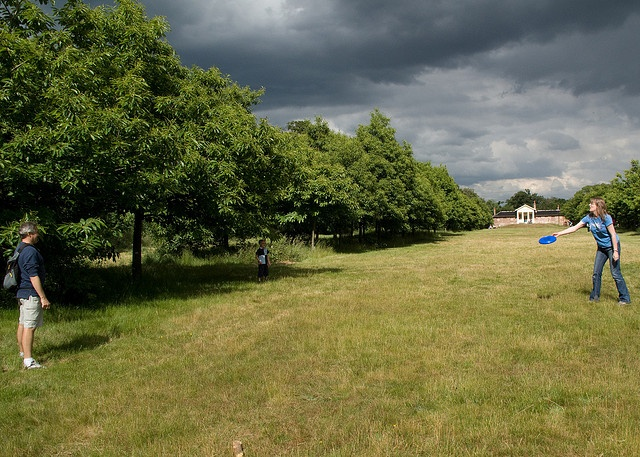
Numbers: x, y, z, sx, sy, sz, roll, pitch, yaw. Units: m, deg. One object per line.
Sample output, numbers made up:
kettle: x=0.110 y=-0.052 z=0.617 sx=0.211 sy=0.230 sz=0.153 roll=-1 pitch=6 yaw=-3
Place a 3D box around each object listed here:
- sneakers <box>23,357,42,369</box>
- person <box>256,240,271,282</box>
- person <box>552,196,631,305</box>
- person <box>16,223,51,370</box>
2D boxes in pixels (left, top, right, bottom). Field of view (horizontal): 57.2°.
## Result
sneakers: x=-6.176 y=2.956 z=12.765 sx=0.447 sy=0.207 sz=0.178 roll=5 pitch=-2 yaw=-15
person: x=-2.227 y=1.206 z=22.861 sx=0.438 sy=1.285 sz=1.881 roll=-3 pitch=-1 yaw=-7
person: x=7.972 y=0.603 z=16.526 sx=1.174 sy=3.146 sz=1.560 roll=-3 pitch=-1 yaw=27
person: x=-6.326 y=1.463 z=12.944 sx=0.795 sy=3.208 sz=0.427 roll=-3 pitch=-1 yaw=12
